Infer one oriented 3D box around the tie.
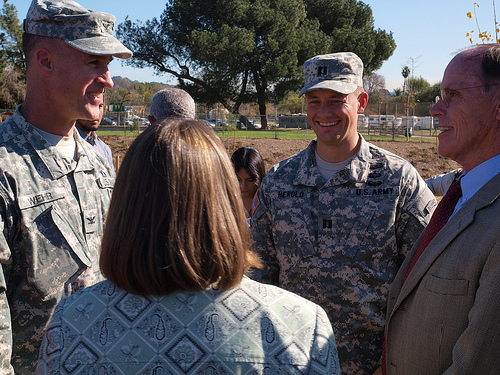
[{"bbox_3d":[0.983,0.522,3.470,0.126,1.259,0.130,21,-10,6],"label":"tie"}]
